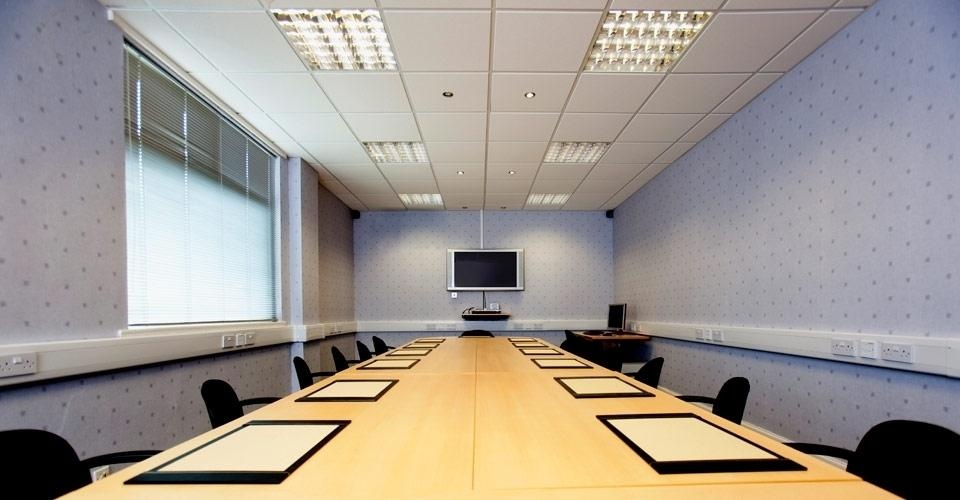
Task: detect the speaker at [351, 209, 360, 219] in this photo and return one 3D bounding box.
[{"bbox_3d":[-2.383,-0.690,9.915,0.195,0.157,0.095,4,-8,-31],"label":"speaker"}]

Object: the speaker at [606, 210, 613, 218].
[{"bbox_3d":[2.527,-0.689,9.963,0.141,0.158,0.060,-2,-7,3],"label":"speaker"}]

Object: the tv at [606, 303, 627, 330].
[{"bbox_3d":[2.409,1.163,8.964,0.160,0.339,0.516,7,-10,-5],"label":"tv"}]
